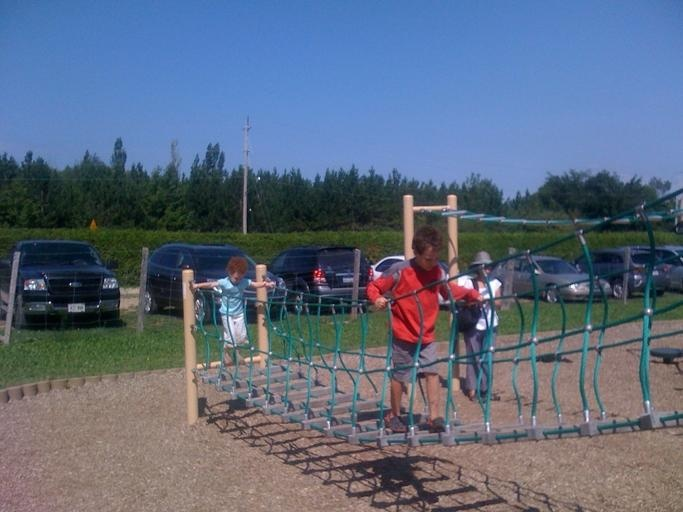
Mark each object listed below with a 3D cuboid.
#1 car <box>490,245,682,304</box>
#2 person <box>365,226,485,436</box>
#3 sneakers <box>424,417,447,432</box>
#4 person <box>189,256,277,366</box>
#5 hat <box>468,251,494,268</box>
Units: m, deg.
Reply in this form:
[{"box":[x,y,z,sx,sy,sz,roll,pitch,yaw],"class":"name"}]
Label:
[{"box":[5.116,0.429,18.778,1.179,0.971,2.869,-1,-2,-21],"class":"car"},{"box":[0.922,0.853,10.228,1.186,2.391,0.982,-1,7,-5],"class":"person"},{"box":[1.007,1.857,10.054,0.209,0.105,0.101,0,0,-24],"class":"sneakers"},{"box":[-1.618,0.869,13.499,1.274,1.615,0.478,4,-19,-22],"class":"person"},{"box":[1.742,0.050,11.634,0.264,0.181,0.250,-2,0,-38],"class":"hat"}]
